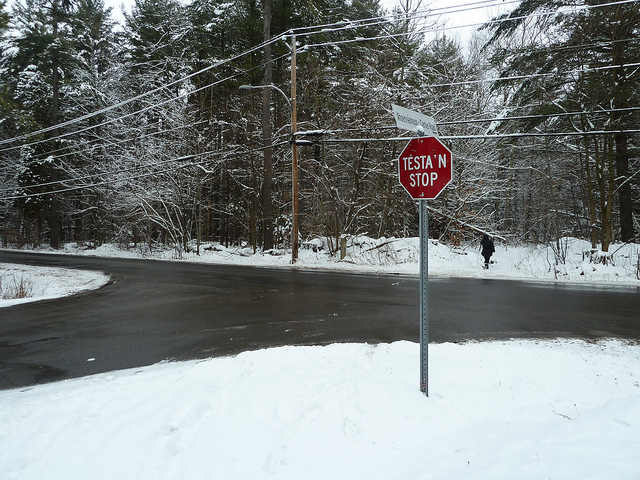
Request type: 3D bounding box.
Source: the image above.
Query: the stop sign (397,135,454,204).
[{"bbox_3d":[2.523,-1.678,13.210,1.193,1.585,0.554,0,11,3],"label":"stop sign"}]

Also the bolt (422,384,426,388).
[{"bbox_3d":[2.521,3.520,13.228,0.074,0.079,0.034,0,11,3],"label":"bolt"}]
